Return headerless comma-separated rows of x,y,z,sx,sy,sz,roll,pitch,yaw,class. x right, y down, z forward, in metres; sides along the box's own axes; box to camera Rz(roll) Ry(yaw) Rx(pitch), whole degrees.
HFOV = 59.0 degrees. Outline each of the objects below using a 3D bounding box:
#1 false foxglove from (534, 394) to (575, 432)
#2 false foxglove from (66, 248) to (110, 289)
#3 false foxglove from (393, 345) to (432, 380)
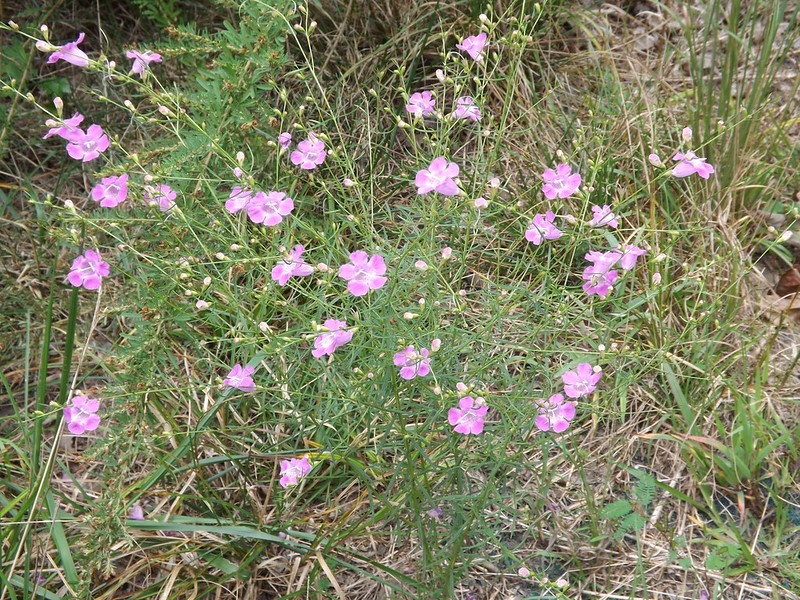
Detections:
0.614,0.464,2.833,0.154,0.231,0.129,-6,63,7,false foxglove
-1.326,-0.132,3.003,0.156,0.170,0.050,11,53,-25,false foxglove
0.039,0.236,2.643,0.124,0.051,0.128,22,108,8,false foxglove
